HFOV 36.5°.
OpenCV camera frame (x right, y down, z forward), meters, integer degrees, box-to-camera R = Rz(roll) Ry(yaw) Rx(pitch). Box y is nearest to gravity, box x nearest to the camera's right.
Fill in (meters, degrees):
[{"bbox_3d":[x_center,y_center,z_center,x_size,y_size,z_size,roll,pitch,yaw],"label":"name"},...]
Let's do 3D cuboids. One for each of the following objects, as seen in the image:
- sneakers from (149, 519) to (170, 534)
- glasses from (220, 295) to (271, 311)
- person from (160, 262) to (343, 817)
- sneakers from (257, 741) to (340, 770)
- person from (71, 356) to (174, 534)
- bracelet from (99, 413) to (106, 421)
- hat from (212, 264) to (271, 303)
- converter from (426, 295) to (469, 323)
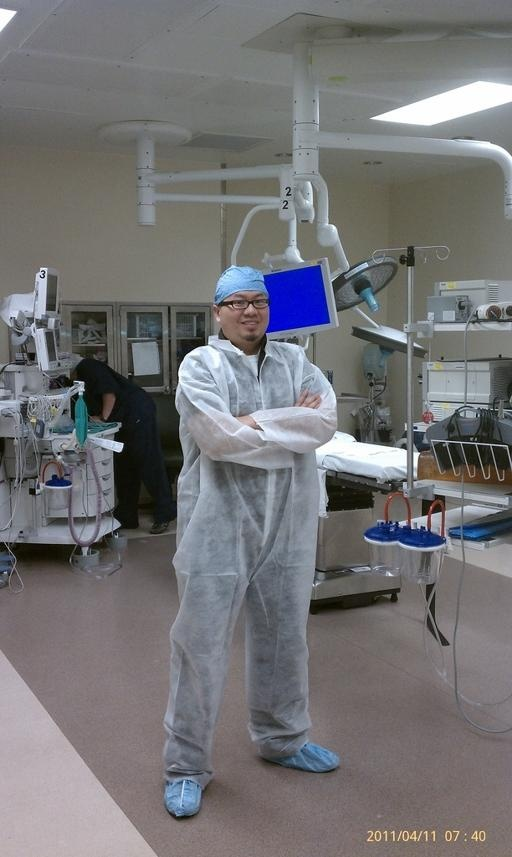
[{"bbox_3d":[-0.641,0.651,5.162,0.065,0.074,0.177,-1,-6,6],"label":"sneakers"},{"bbox_3d":[-0.033,-0.330,2.052,0.127,0.040,0.074,-1,6,-3],"label":"glasses"},{"bbox_3d":[-0.014,0.280,2.089,0.525,1.425,0.382,-2,6,-19],"label":"person"},{"bbox_3d":[0.130,0.926,2.245,0.159,0.063,0.089,-5,-4,19],"label":"sneakers"},{"bbox_3d":[-0.893,0.044,5.079,0.516,1.372,0.468,-8,15,5],"label":"person"},{"bbox_3d":[-0.966,-0.064,4.826,0.029,0.036,0.081,0,6,3],"label":"bracelet"},{"bbox_3d":[-0.039,-0.380,2.084,0.112,0.088,0.111,-1,0,-33],"label":"hat"},{"bbox_3d":[0.656,-0.403,2.621,0.137,0.100,0.165,1,6,10],"label":"converter"}]
